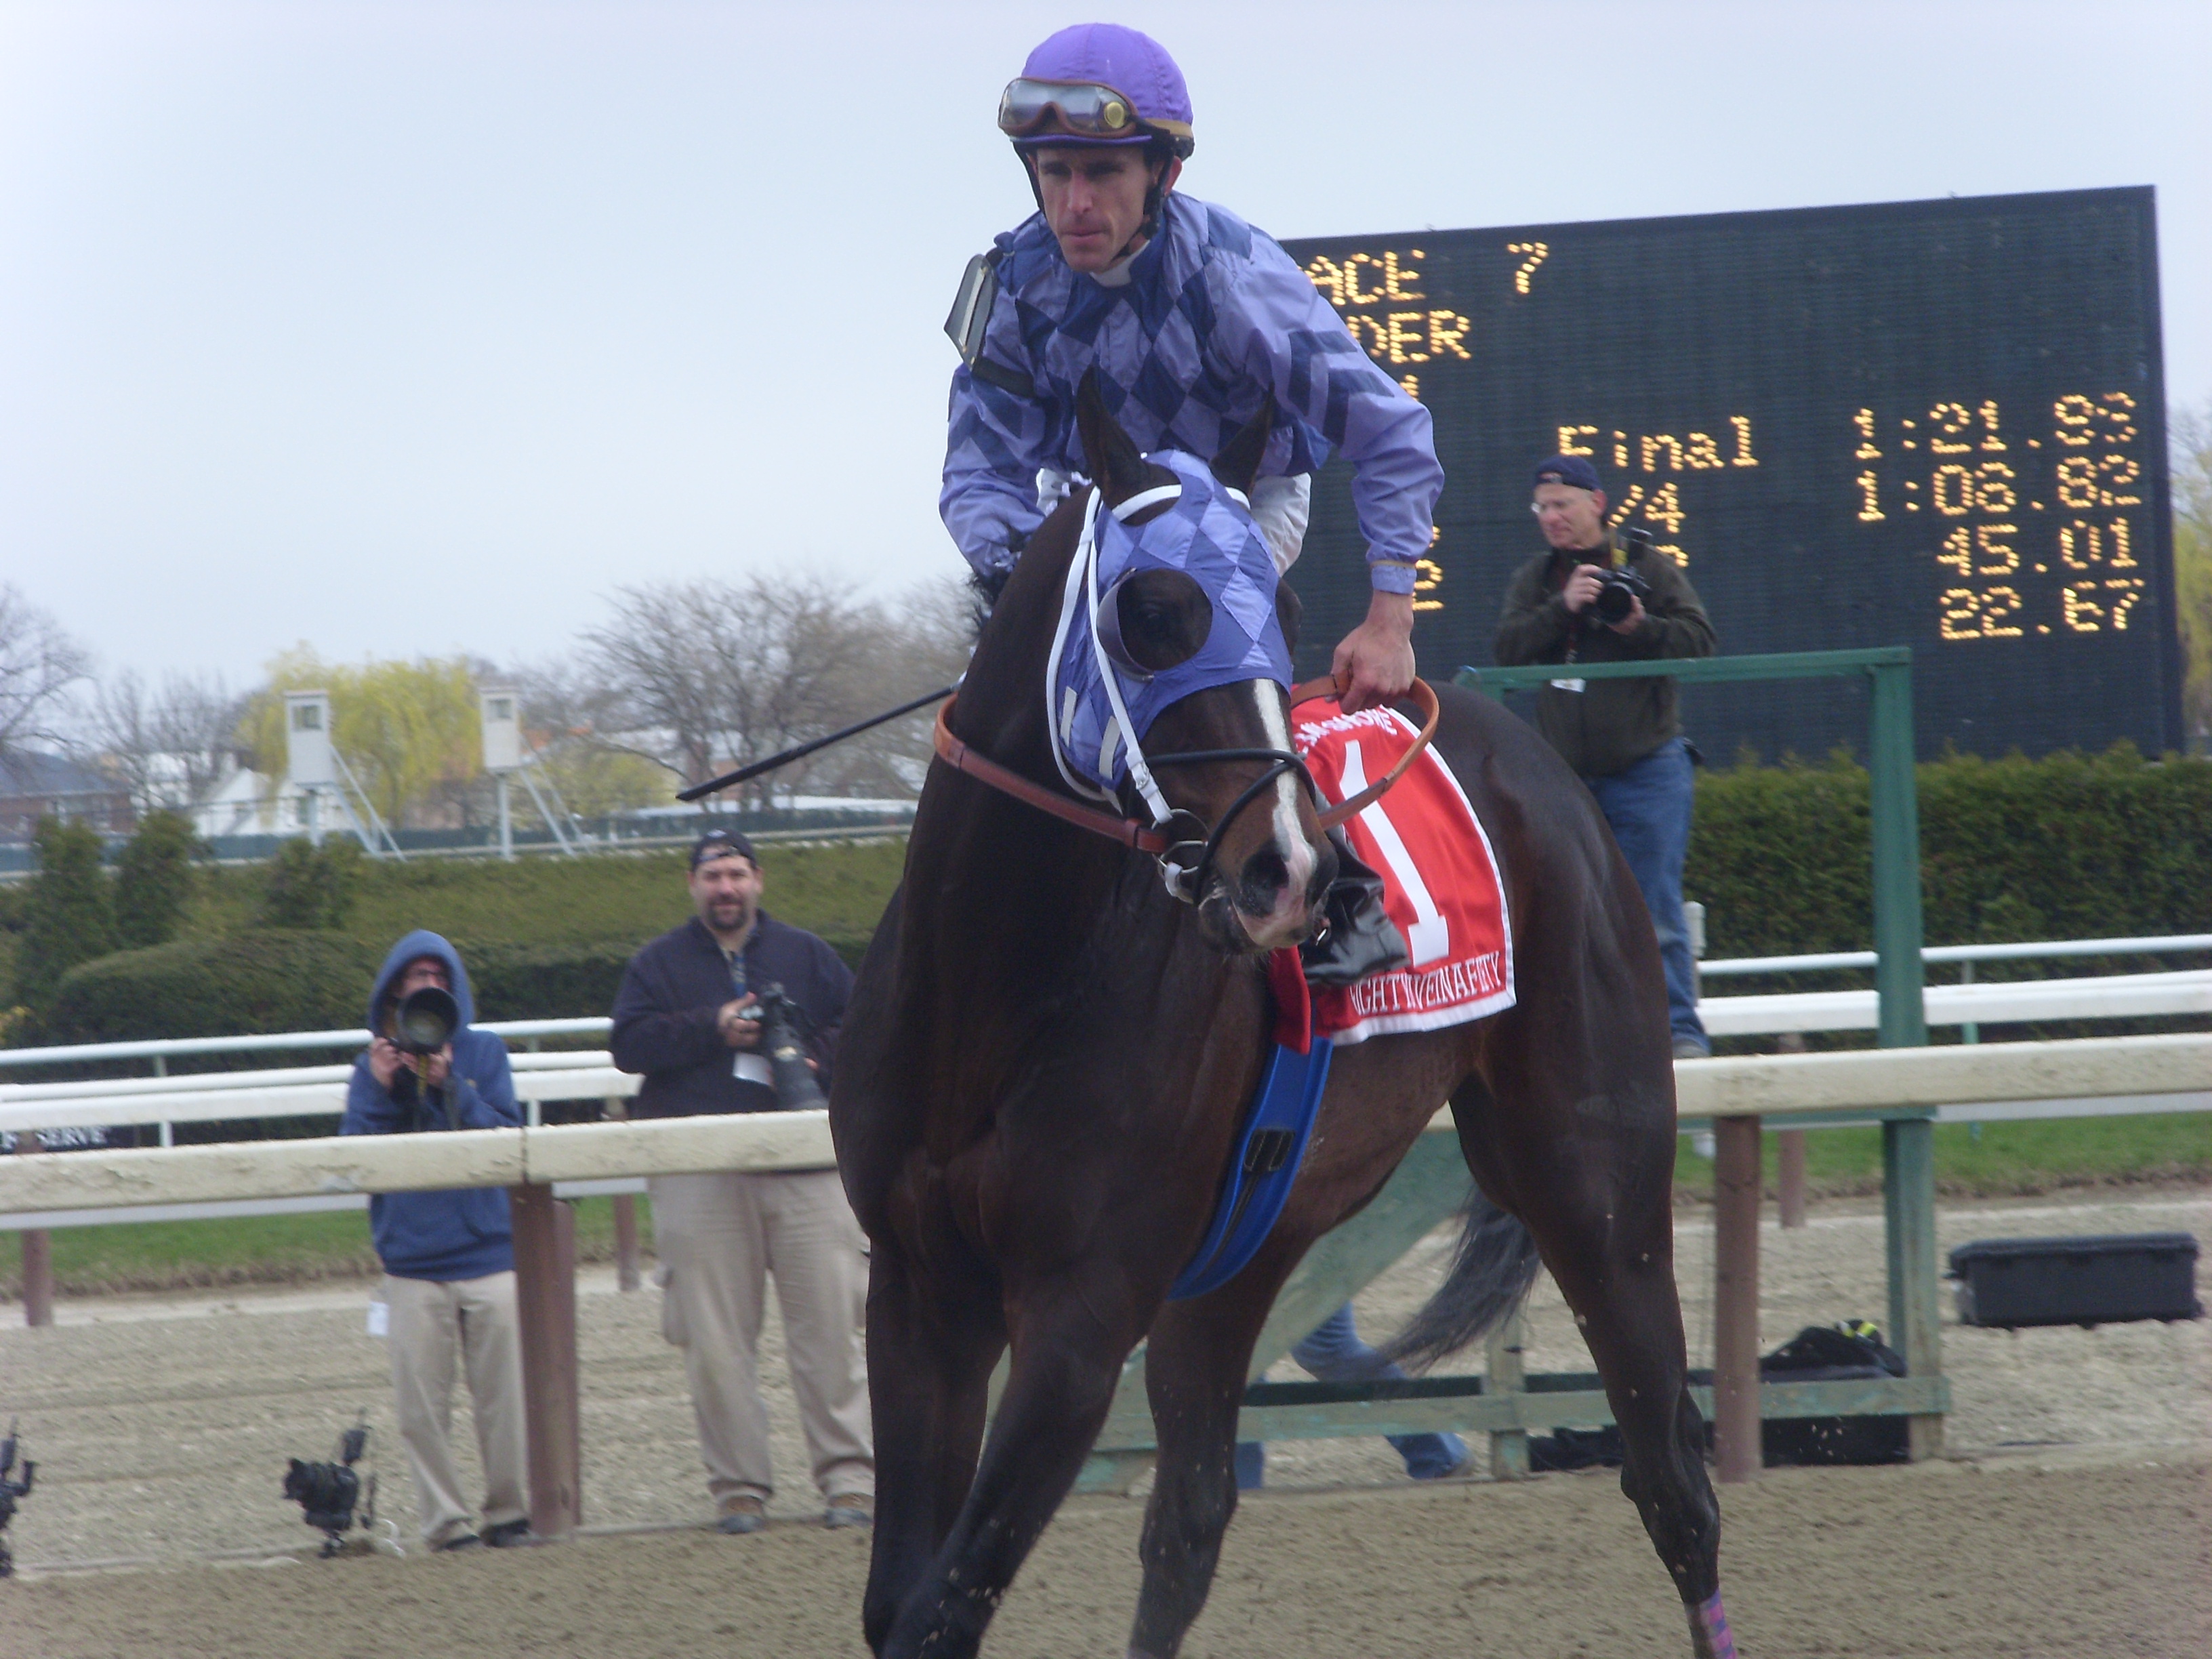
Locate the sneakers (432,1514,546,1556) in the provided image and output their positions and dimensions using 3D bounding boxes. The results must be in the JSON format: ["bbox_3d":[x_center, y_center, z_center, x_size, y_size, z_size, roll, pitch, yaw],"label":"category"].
[{"bbox_3d":[-1.806,2.088,12.769,0.312,0.129,0.103,5,-15,-6],"label":"sneakers"}]

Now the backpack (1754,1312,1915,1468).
[{"bbox_3d":[2.179,1.699,13.000,0.432,0.365,0.345,-4,1,4],"label":"backpack"}]

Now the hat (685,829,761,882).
[{"bbox_3d":[-1.163,0.071,13.202,0.136,0.164,0.092,0,7,-7],"label":"hat"}]

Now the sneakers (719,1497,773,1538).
[{"bbox_3d":[-1.053,2.019,12.740,0.160,0.100,0.132,-4,1,-7],"label":"sneakers"}]

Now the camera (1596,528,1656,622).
[{"bbox_3d":[1.607,-0.776,13.194,0.118,0.263,0.209,1,-3,-36],"label":"camera"}]

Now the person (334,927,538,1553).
[{"bbox_3d":[-1.973,1.214,12.952,0.517,1.787,0.643,-5,1,-9],"label":"person"}]

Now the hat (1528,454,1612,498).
[{"bbox_3d":[1.459,-1.098,13.415,0.214,0.101,0.141,-2,4,-28],"label":"hat"}]

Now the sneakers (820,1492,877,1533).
[{"bbox_3d":[-0.748,2.020,12.754,0.120,0.100,0.092,-2,-4,5],"label":"sneakers"}]
